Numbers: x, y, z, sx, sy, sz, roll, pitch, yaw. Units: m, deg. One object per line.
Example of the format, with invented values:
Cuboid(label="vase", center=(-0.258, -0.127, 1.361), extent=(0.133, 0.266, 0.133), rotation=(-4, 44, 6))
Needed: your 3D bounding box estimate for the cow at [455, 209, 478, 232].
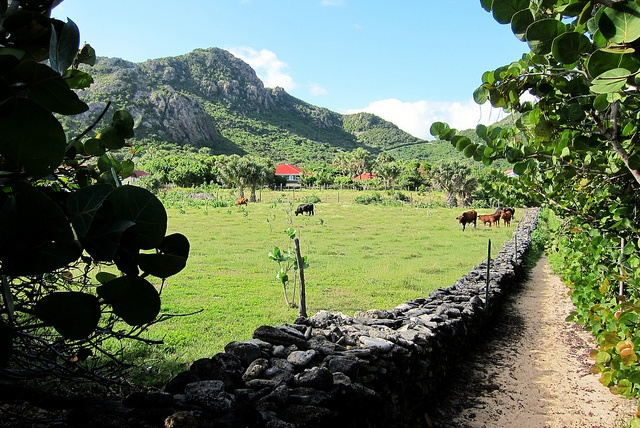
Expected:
Cuboid(label="cow", center=(7.604, 0.315, 23.837), extent=(0.617, 0.845, 1.588), rotation=(5, 7, 35))

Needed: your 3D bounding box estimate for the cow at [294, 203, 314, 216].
Cuboid(label="cow", center=(-0.956, -0.298, 28.535), extent=(1.174, 0.703, 1.067), rotation=(0, 6, -12))

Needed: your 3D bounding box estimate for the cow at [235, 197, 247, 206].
Cuboid(label="cow", center=(-5.535, -0.856, 33.441), extent=(0.447, 0.826, 1.700), rotation=(1, -2, -41))
